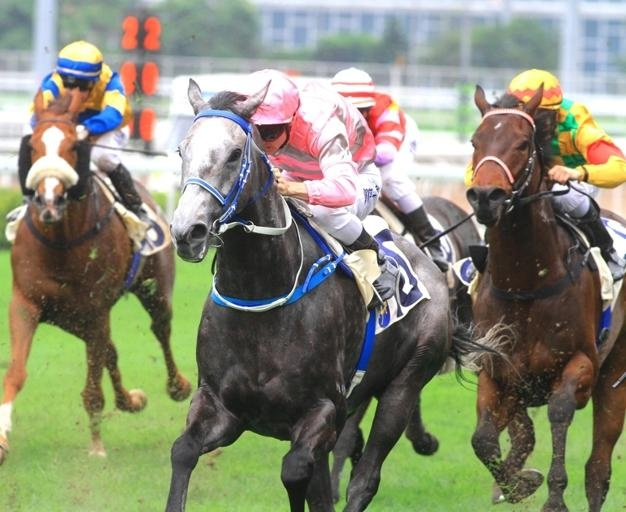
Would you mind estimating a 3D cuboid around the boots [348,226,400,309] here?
[{"bbox_3d":[0.270,0.032,4.784,0.224,0.301,0.120,-14,22,51],"label":"boots"}]

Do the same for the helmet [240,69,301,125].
[{"bbox_3d":[-0.170,-0.626,4.330,0.160,0.155,0.248,-1,10,6],"label":"helmet"}]

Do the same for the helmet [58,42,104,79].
[{"bbox_3d":[-1.202,-1.009,5.660,0.239,0.185,0.188,-1,11,-14],"label":"helmet"}]

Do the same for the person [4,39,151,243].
[{"bbox_3d":[-1.166,-0.674,5.981,0.489,0.850,1.281,-2,-11,3],"label":"person"}]

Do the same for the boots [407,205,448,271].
[{"bbox_3d":[0.630,-0.099,6.109,0.082,0.345,0.180,-20,-1,34],"label":"boots"}]

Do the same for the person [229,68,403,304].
[{"bbox_3d":[-0.055,-0.296,4.766,0.966,0.825,0.671,17,-23,-42],"label":"person"}]

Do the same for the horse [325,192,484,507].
[{"bbox_3d":[0.417,0.426,6.030,0.492,1.659,2.139,2,4,15],"label":"horse"}]

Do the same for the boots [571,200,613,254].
[{"bbox_3d":[1.396,-0.124,5.462,0.098,0.131,0.347,-13,-40,27],"label":"boots"}]

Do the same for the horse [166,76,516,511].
[{"bbox_3d":[-0.028,0.172,4.482,0.612,1.739,1.452,11,14,43],"label":"horse"}]
